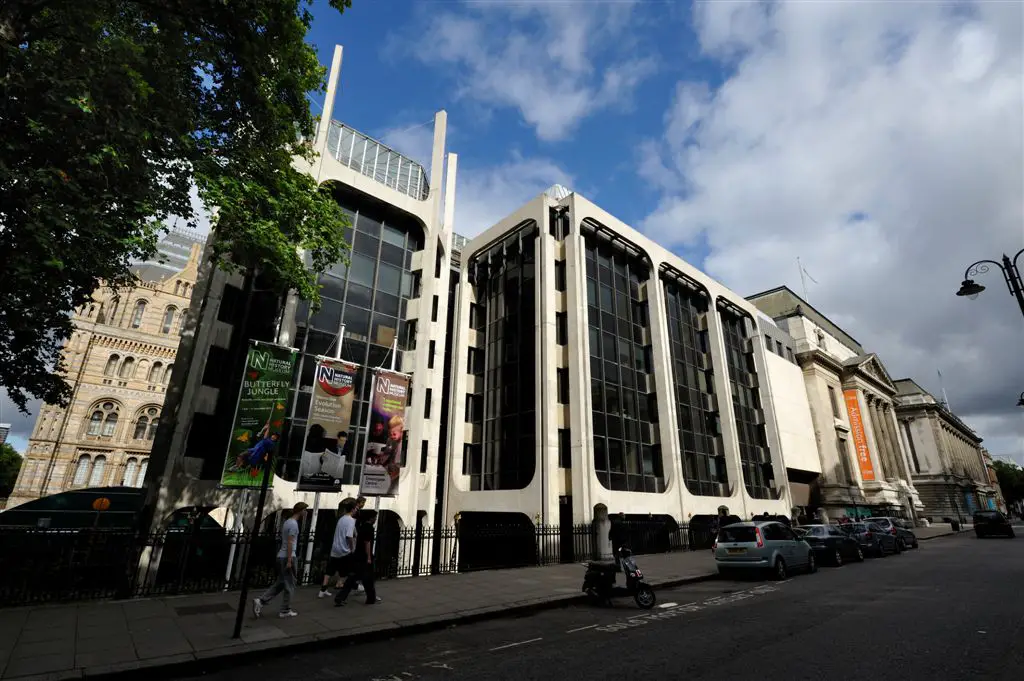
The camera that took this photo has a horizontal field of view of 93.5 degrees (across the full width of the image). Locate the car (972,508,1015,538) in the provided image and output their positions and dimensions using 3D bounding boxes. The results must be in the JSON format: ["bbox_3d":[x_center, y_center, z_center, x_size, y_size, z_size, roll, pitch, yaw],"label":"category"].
[{"bbox_3d":[34.931,13.376,35.113,1.941,1.452,3.140,-10,-14,43],"label":"car"}]

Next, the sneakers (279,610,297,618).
[{"bbox_3d":[-5.970,7.253,12.885,0.515,0.207,0.181,7,-13,-25],"label":"sneakers"}]

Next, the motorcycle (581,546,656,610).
[{"bbox_3d":[3.301,7.400,15.104,2.423,1.646,1.119,-18,-36,38],"label":"motorcycle"}]
